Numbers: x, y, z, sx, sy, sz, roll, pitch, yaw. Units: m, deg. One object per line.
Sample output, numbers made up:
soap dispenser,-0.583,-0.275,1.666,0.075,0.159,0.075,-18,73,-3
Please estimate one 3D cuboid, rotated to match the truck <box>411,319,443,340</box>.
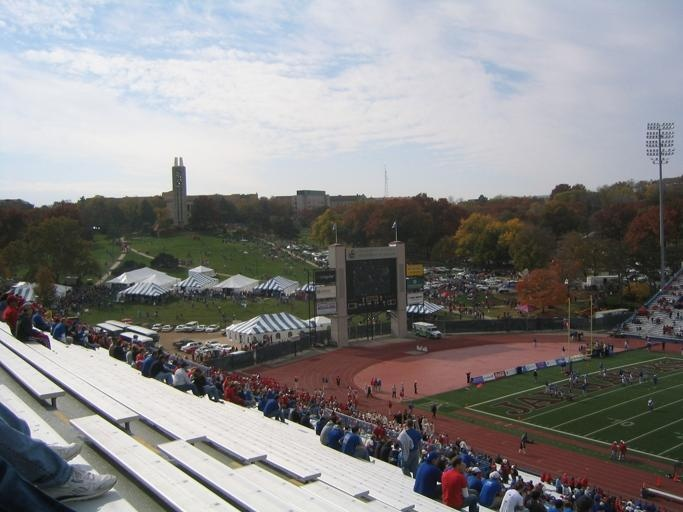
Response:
truck,8.964,7.676,70.296,2.584,1.233,1.434,6,10,44
